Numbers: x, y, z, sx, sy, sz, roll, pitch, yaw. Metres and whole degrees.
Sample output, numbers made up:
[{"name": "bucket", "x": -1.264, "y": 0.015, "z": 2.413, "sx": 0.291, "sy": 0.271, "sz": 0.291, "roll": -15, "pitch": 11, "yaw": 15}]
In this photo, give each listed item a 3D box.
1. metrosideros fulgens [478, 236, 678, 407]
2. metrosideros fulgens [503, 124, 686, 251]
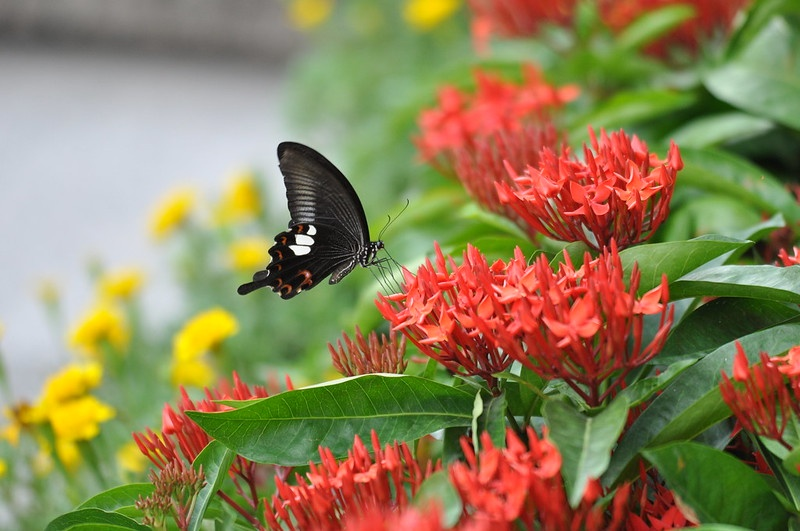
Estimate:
[{"name": "metrosideros fulgens", "x": 0.379, "y": 0.109, "z": 1.835, "sx": 0.363, "sy": 0.342, "sz": 0.338, "roll": 16, "pitch": 39, "yaw": 21}, {"name": "metrosideros fulgens", "x": 0.435, "y": -0.169, "z": 1.853, "sx": 0.309, "sy": 0.221, "sz": 0.301, "roll": -3, "pitch": 23, "yaw": 1}]
